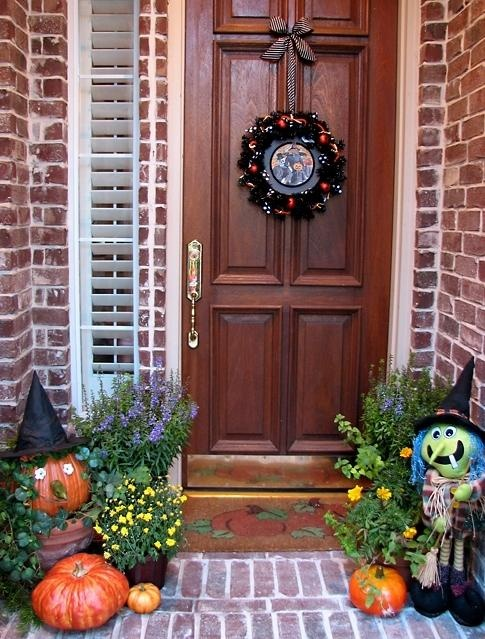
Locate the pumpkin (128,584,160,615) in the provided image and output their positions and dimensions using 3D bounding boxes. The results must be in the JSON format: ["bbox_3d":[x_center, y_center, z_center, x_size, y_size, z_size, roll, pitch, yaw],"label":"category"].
[{"bbox_3d":[-0.306,0.867,1.729,0.083,0.074,0.083,3,0,37],"label":"pumpkin"}]

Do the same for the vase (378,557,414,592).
[{"bbox_3d":[0.507,0.820,1.832,0.111,0.106,0.085,2,3,17],"label":"vase"}]

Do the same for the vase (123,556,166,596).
[{"bbox_3d":[-0.317,0.822,1.811,0.127,0.095,0.130,0,-5,-25],"label":"vase"}]

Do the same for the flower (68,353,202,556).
[{"bbox_3d":[-0.396,0.554,2.042,0.451,0.624,0.677,-1,9,-6],"label":"flower"}]

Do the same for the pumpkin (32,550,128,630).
[{"bbox_3d":[-0.485,0.803,1.660,0.234,0.163,0.235,7,11,38],"label":"pumpkin"}]
